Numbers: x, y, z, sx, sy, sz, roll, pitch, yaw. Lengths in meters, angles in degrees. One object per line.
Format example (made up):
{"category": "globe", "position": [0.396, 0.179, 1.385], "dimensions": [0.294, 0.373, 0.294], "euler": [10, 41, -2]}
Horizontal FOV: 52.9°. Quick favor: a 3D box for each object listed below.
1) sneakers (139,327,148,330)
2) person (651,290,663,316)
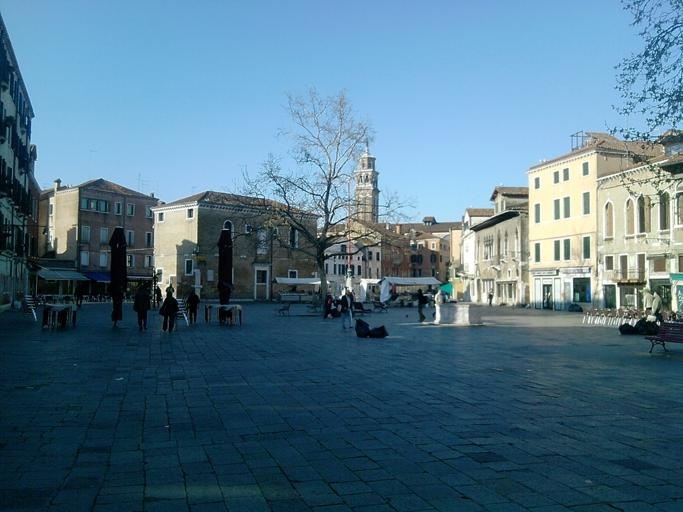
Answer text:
{"category": "sneakers", "position": [-7.196, 2.649, 24.887], "dimensions": [0.099, 0.190, 0.298], "euler": [3, 5, 39]}
{"category": "person", "position": [11.025, 1.671, 24.009], "dimensions": [0.271, 0.892, 0.779], "euler": [-2, -4, 20]}
